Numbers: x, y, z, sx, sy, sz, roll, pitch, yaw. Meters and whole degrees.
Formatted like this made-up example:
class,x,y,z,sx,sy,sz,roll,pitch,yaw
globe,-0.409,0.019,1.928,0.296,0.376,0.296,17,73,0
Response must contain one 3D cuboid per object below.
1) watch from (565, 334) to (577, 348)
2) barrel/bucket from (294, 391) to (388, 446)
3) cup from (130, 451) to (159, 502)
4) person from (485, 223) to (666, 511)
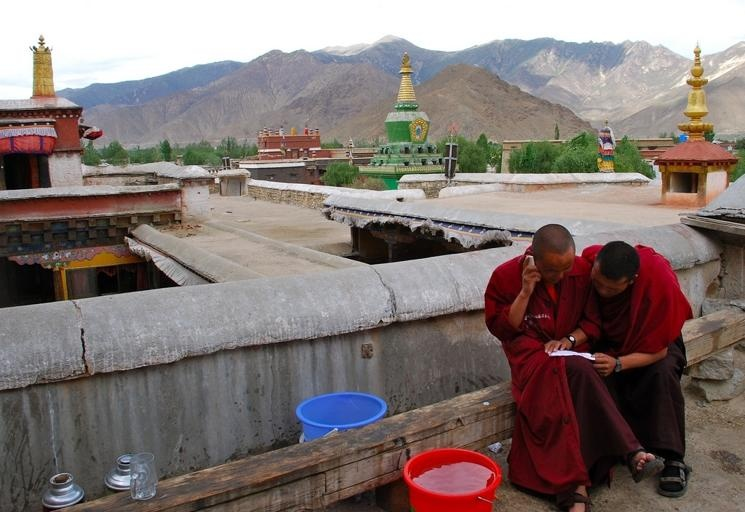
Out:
class,x,y,z,sx,sy,sz,roll,pitch,yaw
watch,1.427,0.609,4.180,0.075,0.080,0.064,1,-4,16
barrel/bucket,-0.221,1.177,4.202,0.642,0.303,0.501,-4,6,-6
cup,-1.306,1.251,3.325,0.151,0.214,0.198,-7,7,-25
person,1.299,0.725,4.070,0.806,1.898,0.743,-6,7,-17
